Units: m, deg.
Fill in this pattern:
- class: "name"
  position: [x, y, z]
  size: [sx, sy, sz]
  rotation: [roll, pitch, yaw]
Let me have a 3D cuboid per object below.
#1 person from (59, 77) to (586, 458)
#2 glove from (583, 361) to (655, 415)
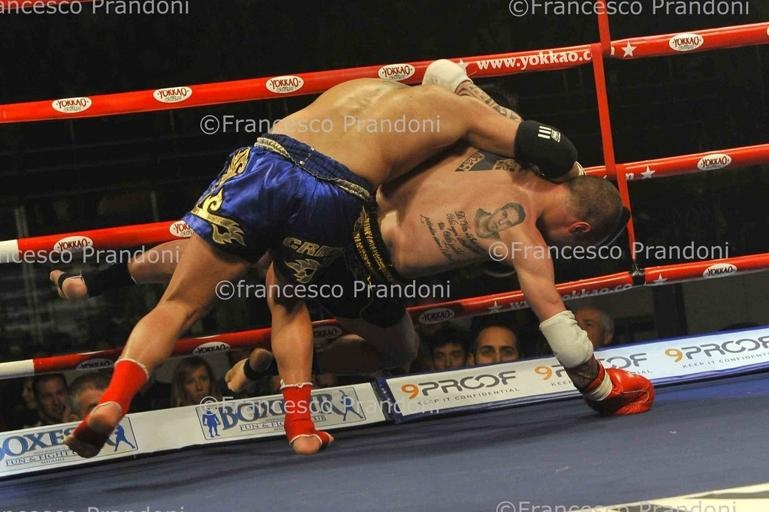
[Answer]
- class: "person"
  position: [-0.321, -0.035, 4.216]
  size: [2.518, 1.544, 0.354]
  rotation: [-10, 13, -15]
- class: "glove"
  position: [1.196, 0.678, 4.336]
  size: [0.318, 0.166, 0.399]
  rotation: [8, 11, 19]
